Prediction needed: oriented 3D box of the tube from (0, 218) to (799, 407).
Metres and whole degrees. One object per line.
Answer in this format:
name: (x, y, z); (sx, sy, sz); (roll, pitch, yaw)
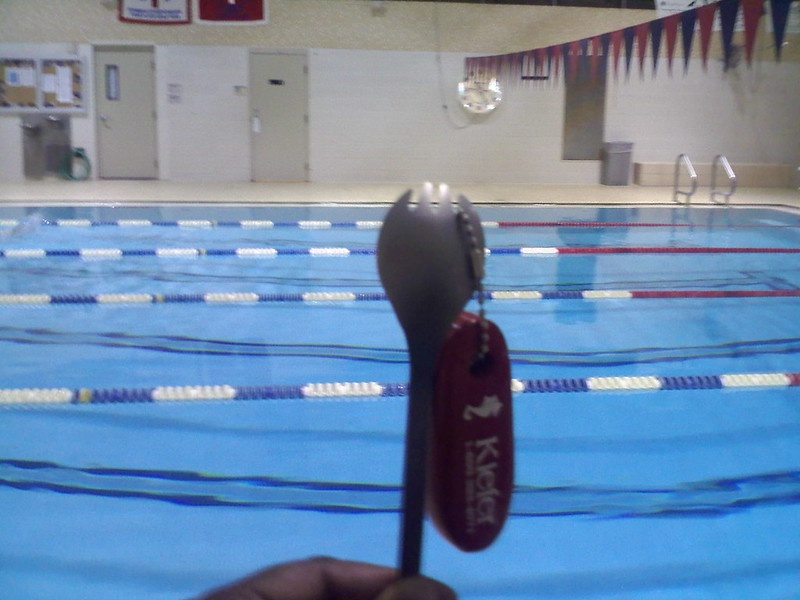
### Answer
tube: (0.098, -0.174, 5.469); (5.637, 0.438, 3.933); (-2, 10, -13)

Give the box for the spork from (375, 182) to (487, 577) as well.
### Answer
spork: (0.066, 0.170, 1.896); (0.205, 0.835, 0.102); (3, 4, -20)

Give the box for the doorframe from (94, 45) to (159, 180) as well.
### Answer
doorframe: (-3.310, -2.259, 10.359); (0.718, 1.564, 0.251); (-4, 14, -19)
